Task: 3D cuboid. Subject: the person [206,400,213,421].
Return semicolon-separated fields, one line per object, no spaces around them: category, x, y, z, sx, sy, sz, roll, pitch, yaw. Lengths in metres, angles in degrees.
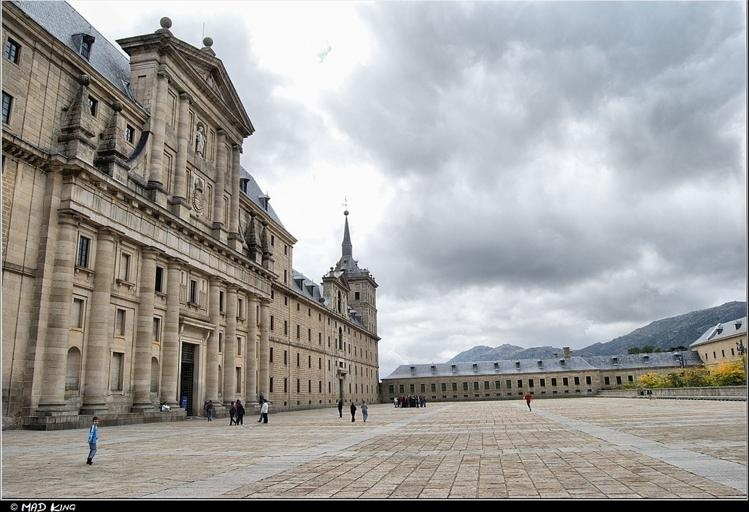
person;-12.191;11.449;38.618;0.379;1.507;2.303;2;-22;-20

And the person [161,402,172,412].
person;-14.073;10.178;35.345;0.722;0.729;1.026;0;-22;-15
